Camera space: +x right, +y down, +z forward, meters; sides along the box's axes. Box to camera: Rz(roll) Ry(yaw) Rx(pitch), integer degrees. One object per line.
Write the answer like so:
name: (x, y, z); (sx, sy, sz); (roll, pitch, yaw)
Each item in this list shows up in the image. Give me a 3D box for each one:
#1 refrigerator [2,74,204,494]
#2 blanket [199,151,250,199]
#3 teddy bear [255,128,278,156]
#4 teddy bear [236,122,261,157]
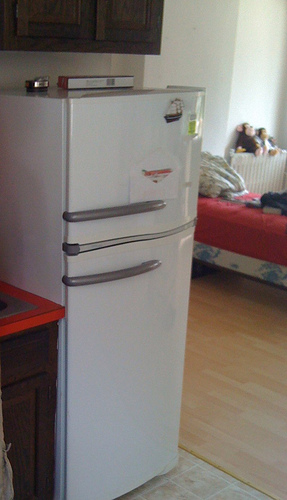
refrigerator: (-0.096, 0.195, 1.343); (0.637, 1.424, 0.318); (-7, 20, -35)
blanket: (0.771, -0.734, 4.102); (0.452, 0.516, 0.504); (11, 21, 32)
teddy bear: (1.582, -1.417, 5.321); (0.156, 0.352, 0.313); (-18, 1, 25)
teddy bear: (1.273, -1.383, 5.159); (0.326, 0.480, 0.362); (-7, 20, 12)
